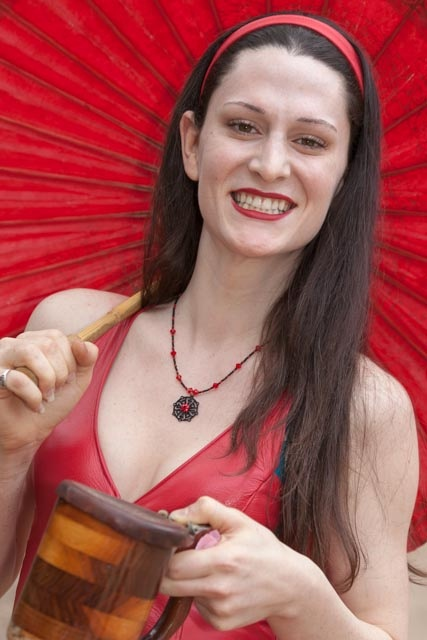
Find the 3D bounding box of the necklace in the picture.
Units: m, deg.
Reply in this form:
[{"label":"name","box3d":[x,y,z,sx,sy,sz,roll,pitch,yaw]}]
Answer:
[{"label":"necklace","box3d":[0.039,0.125,1.694,0.291,0.324,0.045,26,-21,26]}]
